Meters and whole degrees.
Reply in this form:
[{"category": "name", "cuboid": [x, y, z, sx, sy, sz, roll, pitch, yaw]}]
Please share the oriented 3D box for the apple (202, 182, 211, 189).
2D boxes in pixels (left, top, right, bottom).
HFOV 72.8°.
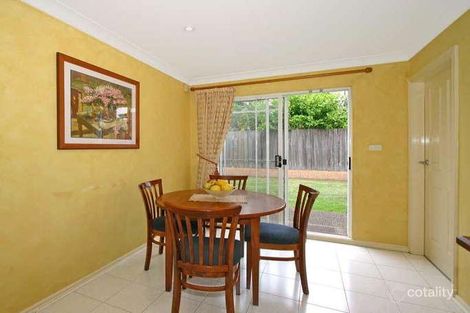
[{"category": "apple", "cuboid": [-0.354, 0.365, 4.020, 0.077, 0.091, 0.077, -1, -5, 40]}]
